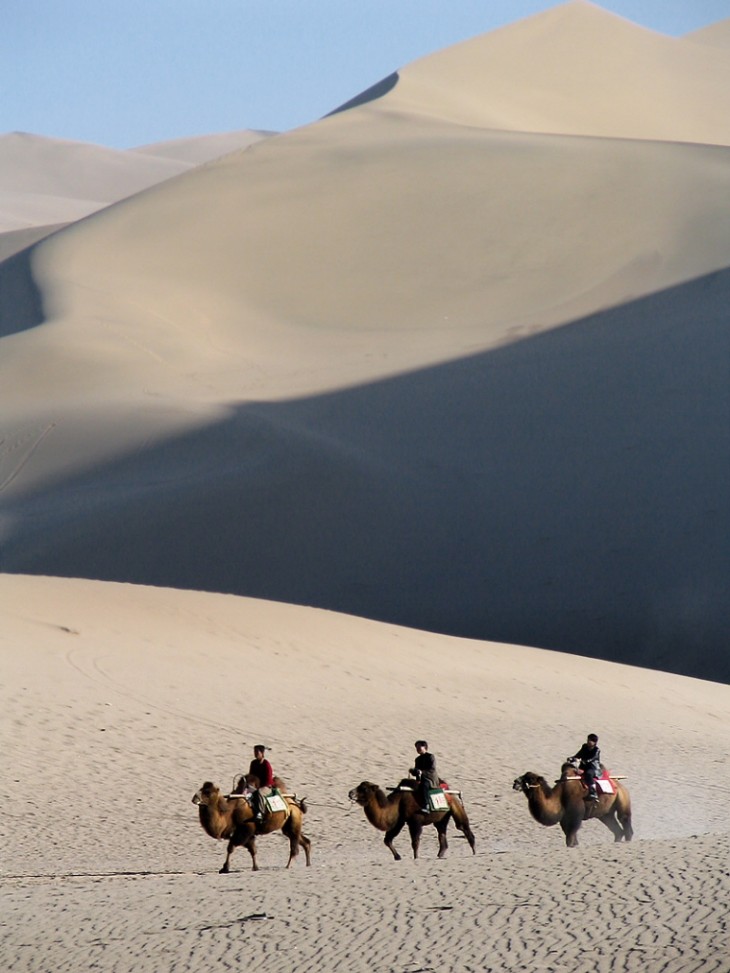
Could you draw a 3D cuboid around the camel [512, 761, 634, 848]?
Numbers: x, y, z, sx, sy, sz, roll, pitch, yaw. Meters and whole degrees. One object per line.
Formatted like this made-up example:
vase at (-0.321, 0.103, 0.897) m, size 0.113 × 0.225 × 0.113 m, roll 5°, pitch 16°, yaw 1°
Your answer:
camel at (1.628, 2.483, 8.587) m, size 1.104 × 0.675 × 0.290 m, roll 4°, pitch -8°, yaw -22°
